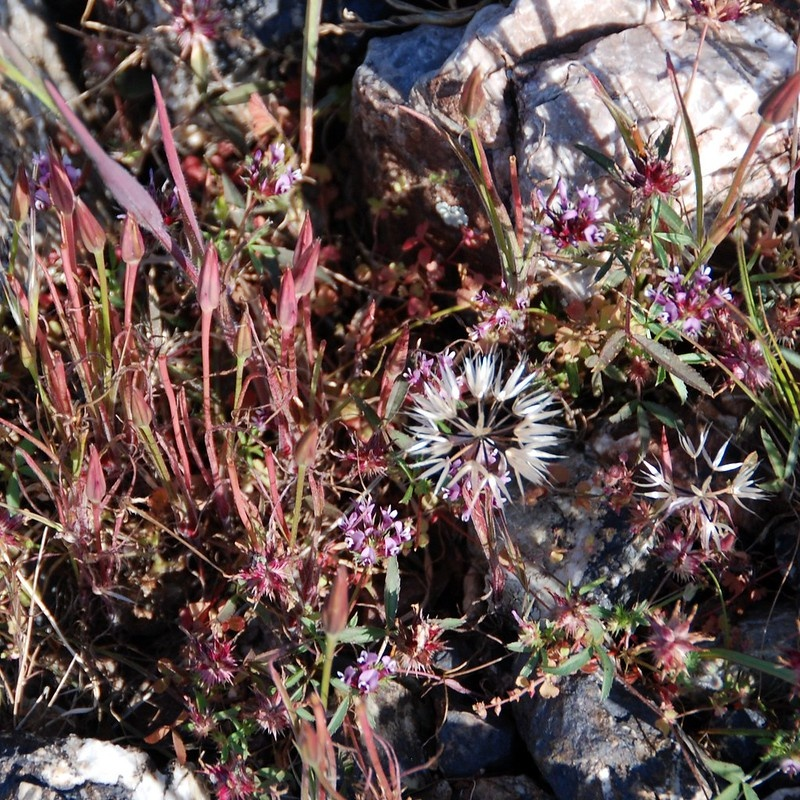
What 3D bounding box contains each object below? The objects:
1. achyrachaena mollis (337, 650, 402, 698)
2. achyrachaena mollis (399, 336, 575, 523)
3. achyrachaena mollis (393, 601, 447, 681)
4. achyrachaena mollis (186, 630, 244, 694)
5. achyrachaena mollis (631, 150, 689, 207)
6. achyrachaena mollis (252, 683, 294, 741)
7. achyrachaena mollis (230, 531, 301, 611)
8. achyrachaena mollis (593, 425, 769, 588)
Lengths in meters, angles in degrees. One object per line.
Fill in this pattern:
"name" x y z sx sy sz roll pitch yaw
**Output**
"achyrachaena mollis" -0.066 0.539 1.920 0.084 0.049 0.097 -13 33 8
"achyrachaena mollis" 0.158 0.103 1.940 0.295 0.224 0.311 14 13 34
"achyrachaena mollis" 0.030 0.521 2.015 0.100 0.172 0.103 -21 32 -36
"achyrachaena mollis" -0.397 0.556 2.092 0.118 0.125 0.122 -42 82 -7
"achyrachaena mollis" 0.547 -0.465 2.054 0.112 0.113 0.163 7 29 14
"achyrachaena mollis" -0.273 0.657 1.990 0.071 0.141 0.090 -6 26 -11
"achyrachaena mollis" -0.292 0.366 2.055 0.132 0.192 0.169 -6 27 -11
"achyrachaena mollis" 0.627 0.200 2.063 0.270 0.178 0.381 15 60 3
